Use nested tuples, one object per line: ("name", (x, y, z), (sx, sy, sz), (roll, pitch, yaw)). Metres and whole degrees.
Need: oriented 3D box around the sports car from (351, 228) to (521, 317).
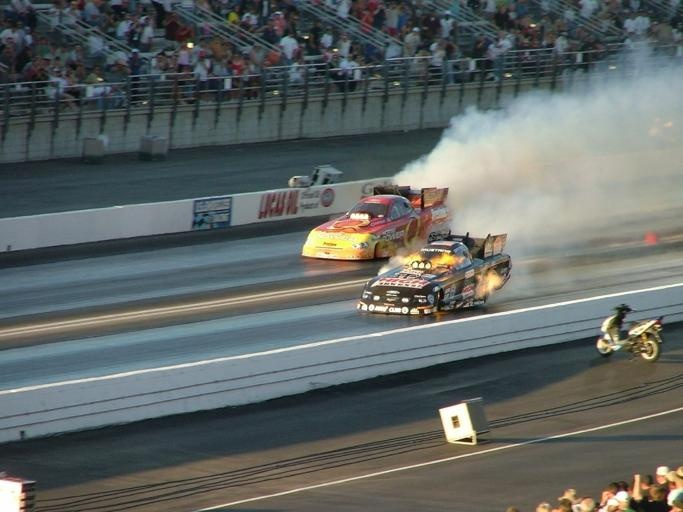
("sports car", (2.309, 0.272, 48.700), (2.394, 1.023, 3.680), (17, 26, 32))
